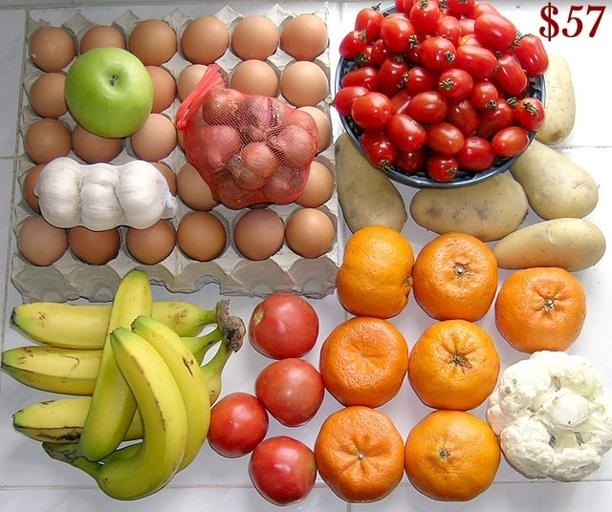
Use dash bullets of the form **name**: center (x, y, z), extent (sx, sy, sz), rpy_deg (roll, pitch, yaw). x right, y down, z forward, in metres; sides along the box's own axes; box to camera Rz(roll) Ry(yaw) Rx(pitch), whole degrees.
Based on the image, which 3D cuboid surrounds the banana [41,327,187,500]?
- **banana**: center (-0.393, 0.219, 1.391), extent (0.151, 0.208, 0.588), rpy_deg (-10, 15, 1)

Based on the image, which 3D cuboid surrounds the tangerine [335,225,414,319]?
- **tangerine**: center (0.137, 0.035, 1.336), extent (0.133, 0.187, 0.173), rpy_deg (-2, 34, 9)

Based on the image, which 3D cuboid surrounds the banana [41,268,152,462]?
- **banana**: center (-0.381, 0.227, 1.231), extent (0.093, 0.109, 0.410), rpy_deg (13, 83, -22)

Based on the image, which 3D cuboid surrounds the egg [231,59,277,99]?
- **egg**: center (-0.108, -0.369, 1.408), extent (0.069, 0.093, 0.091), rpy_deg (-5, 76, 2)

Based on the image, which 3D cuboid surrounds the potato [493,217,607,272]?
- **potato**: center (0.511, -0.025, 1.455), extent (0.190, 0.107, 0.122), rpy_deg (-1, 92, 5)

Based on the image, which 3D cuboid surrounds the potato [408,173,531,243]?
- **potato**: center (0.357, -0.107, 1.487), extent (0.188, 0.117, 0.138), rpy_deg (4, 31, 3)

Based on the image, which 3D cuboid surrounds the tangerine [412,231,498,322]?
- **tangerine**: center (0.313, 0.082, 1.406), extent (0.138, 0.155, 0.183), rpy_deg (-10, 68, 11)

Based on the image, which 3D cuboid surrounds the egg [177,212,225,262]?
- **egg**: center (-0.209, -0.045, 1.435), extent (0.080, 0.113, 0.107), rpy_deg (1, 72, 4)

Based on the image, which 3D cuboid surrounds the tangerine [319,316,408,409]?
- **tangerine**: center (0.123, 0.206, 1.376), extent (0.138, 0.084, 0.190), rpy_deg (6, 83, 4)

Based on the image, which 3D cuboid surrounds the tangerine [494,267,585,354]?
- **tangerine**: center (0.469, 0.103, 1.402), extent (0.146, 0.118, 0.182), rpy_deg (-5, 84, -1)

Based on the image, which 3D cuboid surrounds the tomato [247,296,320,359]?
- **tomato**: center (-0.046, 0.137, 1.360), extent (0.112, 0.121, 0.145), rpy_deg (0, 93, 17)

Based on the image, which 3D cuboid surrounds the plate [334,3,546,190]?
- **plate**: center (0.243, -0.271, 1.328), extent (0.338, 0.154, 0.463), rpy_deg (0, 91, 1)

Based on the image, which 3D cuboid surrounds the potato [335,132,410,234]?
- **potato**: center (0.135, -0.145, 1.510), extent (0.096, 0.113, 0.250), rpy_deg (-6, 68, -55)

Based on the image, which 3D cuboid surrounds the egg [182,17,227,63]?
- **egg**: center (-0.216, -0.457, 1.435), extent (0.080, 0.111, 0.105), rpy_deg (-5, 76, -9)

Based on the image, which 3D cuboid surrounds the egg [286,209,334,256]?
- **egg**: center (0.010, -0.050, 1.431), extent (0.079, 0.110, 0.104), rpy_deg (-6, 62, 3)

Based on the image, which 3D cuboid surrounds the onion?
- **onion**: center (-0.109, -0.213, 1.343), extent (0.202, 0.088, 0.234), rpy_deg (17, 97, -3)

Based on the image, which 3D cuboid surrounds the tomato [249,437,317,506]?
- **tomato**: center (-0.046, 0.418, 1.335), extent (0.134, 0.085, 0.111), rpy_deg (18, 48, 4)

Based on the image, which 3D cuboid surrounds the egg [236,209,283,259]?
- **egg**: center (-0.094, -0.046, 1.427), extent (0.081, 0.109, 0.107), rpy_deg (-3, 73, 0)

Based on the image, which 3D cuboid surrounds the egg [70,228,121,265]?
- **egg**: center (-0.429, -0.007, 1.370), extent (0.064, 0.081, 0.064), rpy_deg (1, 81, -13)

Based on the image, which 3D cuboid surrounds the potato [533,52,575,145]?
- **potato**: center (0.567, -0.352, 1.564), extent (0.085, 0.095, 0.246), rpy_deg (0, 84, 3)

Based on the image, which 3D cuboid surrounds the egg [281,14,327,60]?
- **egg**: center (-0.002, -0.474, 1.470), extent (0.103, 0.089, 0.082), rpy_deg (1, 48, -10)

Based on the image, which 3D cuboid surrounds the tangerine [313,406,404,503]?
- **tangerine**: center (0.109, 0.379, 1.340), extent (0.141, 0.083, 0.194), rpy_deg (-3, 79, 9)

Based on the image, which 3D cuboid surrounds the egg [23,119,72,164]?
- **egg**: center (-0.546, -0.247, 1.433), extent (0.078, 0.119, 0.086), rpy_deg (7, 8, 36)

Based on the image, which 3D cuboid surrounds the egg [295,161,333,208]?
- **egg**: center (0.024, -0.145, 1.401), extent (0.072, 0.081, 0.113), rpy_deg (1, 92, 7)

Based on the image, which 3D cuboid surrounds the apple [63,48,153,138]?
- **apple**: center (-0.390, -0.344, 1.384), extent (0.141, 0.178, 0.164), rpy_deg (1, 19, -1)

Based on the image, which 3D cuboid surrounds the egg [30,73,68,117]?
- **egg**: center (-0.533, -0.337, 1.412), extent (0.053, 0.057, 0.074), rpy_deg (24, 90, 21)

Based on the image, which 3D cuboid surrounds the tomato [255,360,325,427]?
- **tomato**: center (-0.030, 0.266, 1.409), extent (0.118, 0.121, 0.133), rpy_deg (30, 40, -36)

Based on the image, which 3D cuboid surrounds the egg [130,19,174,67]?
- **egg**: center (-0.326, -0.452, 1.488), extent (0.079, 0.106, 0.106), rpy_deg (-5, 88, -3)

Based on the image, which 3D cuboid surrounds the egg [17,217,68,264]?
- **egg**: center (-0.536, -0.033, 1.431), extent (0.080, 0.125, 0.094), rpy_deg (1, 11, 11)

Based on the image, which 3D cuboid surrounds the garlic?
- **garlic**: center (-0.400, -0.119, 1.358), extent (0.213, 0.116, 0.148), rpy_deg (0, 68, -1)
